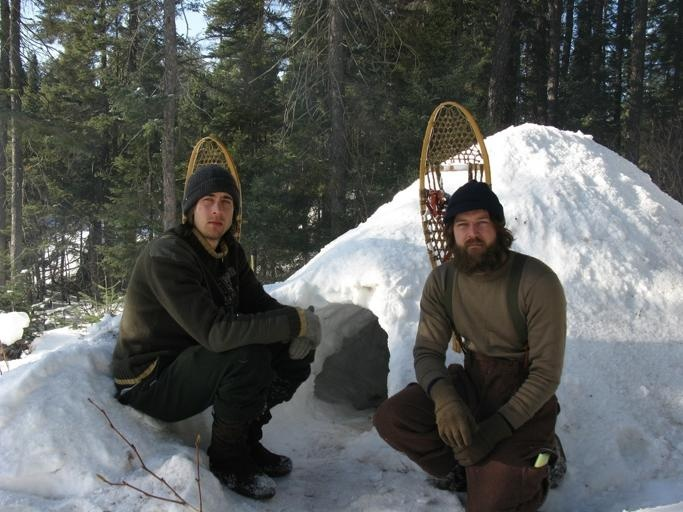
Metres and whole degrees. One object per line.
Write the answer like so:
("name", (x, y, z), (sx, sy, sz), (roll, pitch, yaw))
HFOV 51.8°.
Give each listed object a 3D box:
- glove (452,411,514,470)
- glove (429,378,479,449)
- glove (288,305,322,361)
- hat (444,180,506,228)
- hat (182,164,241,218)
("glove", (1.397, 1.854, 7.011), (0.581, 0.401, 0.180), (-37, 11, -2))
("glove", (1.099, 1.563, 7.060), (0.373, 0.635, 0.262), (-38, -33, 14))
("glove", (-0.358, 0.836, 7.502), (0.354, 0.499, 0.183), (34, 0, -13))
("hat", (1.366, -0.557, 7.225), (0.376, 0.374, 0.529), (-2, -15, 28))
("hat", (-1.438, -0.729, 7.613), (0.504, 0.489, 0.523), (4, -5, -32))
